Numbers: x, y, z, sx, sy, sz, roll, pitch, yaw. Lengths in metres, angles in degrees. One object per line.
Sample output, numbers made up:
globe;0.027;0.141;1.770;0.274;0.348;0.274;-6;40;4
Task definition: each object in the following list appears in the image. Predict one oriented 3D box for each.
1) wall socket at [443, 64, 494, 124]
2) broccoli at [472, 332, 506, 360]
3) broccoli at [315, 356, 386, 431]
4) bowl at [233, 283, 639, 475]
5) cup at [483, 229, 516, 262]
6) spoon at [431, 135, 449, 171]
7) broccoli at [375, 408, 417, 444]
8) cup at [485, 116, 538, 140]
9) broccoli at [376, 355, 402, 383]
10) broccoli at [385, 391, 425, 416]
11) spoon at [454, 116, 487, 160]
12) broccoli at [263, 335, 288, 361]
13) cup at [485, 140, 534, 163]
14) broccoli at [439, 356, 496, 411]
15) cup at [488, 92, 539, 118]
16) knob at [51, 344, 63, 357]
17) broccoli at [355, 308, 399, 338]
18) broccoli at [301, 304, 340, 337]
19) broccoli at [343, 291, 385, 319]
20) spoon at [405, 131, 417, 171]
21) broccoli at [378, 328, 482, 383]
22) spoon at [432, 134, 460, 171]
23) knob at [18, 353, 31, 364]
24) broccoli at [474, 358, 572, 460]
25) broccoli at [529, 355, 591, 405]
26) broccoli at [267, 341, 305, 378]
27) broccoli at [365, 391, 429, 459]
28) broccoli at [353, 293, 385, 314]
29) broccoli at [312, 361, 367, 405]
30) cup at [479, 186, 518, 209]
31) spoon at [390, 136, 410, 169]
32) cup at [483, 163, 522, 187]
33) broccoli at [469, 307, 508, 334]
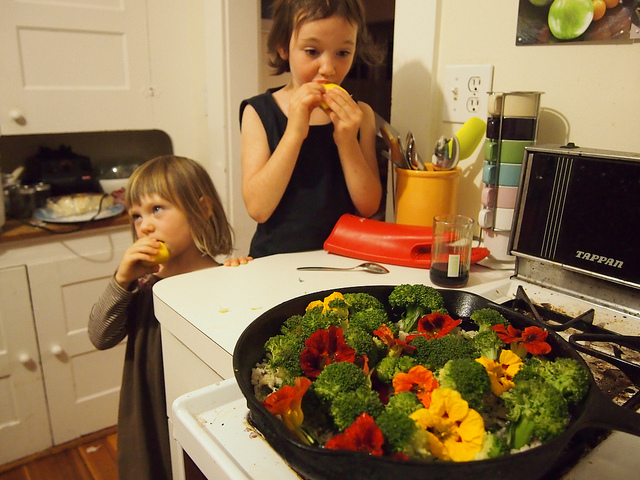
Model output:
wall socket;0.446;-0.445;1.399;0.022;0.172;0.164;-17;24;-36
broccoli;0.254;0.157;0.692;0.037;0.041;0.039;-1;-6;2
broccoli;0.035;0.197;0.616;0.066;0.045;0.086;-6;8;8
bowl;0.146;0.121;0.604;0.392;0.060;0.308;6;15;6
cup;0.473;0.012;1.237;0.075;0.087;0.076;2;9;0
spoon;0.351;-0.243;1.322;0.022;0.111;0.035;-2;1;-28
broccoli;0.092;0.223;0.553;0.033;0.021;0.039;-7;35;-6
cup;0.499;-0.285;1.179;0.089;0.071;0.069;3;15;15
broccoli;0.097;0.181;0.654;0.031;0.034;0.032;-2;-2;-9
broccoli;0.111;0.208;0.591;0.028;0.014;0.029;2;5;28
spoon;0.435;-0.296;1.348;0.062;0.112;0.063;22;12;7
broccoli;-0.066;0.166;0.731;0.029;0.031;0.030;-23;13;11
cup;0.487;-0.232;1.189;0.080;0.042;0.061;-1;9;-7
broccoli;0.186;0.190;0.628;0.080;0.031;0.066;22;30;1
cup;0.491;-0.349;1.177;0.085;0.045;0.074;8;20;26
knob;-1.082;0.453;1.898;0.031;0.038;0.031;23;41;25
broccoli;0.096;0.124;0.745;0.045;0.025;0.055;10;8;-1
broccoli;-0.005;0.121;0.729;0.042;0.018;0.043;-15;19;19
broccoli;0.085;0.107;0.792;0.043;0.035;0.046;3;2;-16
spoon;0.267;-0.268;1.347;0.017;0.133;0.027;-8;-5;-31
broccoli;0.165;0.174;0.723;0.159;0.070;0.101;-2;-12;33
spoon;0.360;-0.241;1.307;0.023;0.103;0.078;6;19;-34
knob;-1.168;0.468;1.830;0.036;0.040;0.038;3;-21;-34
broccoli;0.252;0.221;0.609;0.109;0.086;0.054;-39;15;6
broccoli;0.322;0.178;0.620;0.032;0.064;0.048;-28;-12;18
broccoli;-0.050;0.171;0.684;0.046;0.054;0.048;-8;-5;-8
broccoli;0.096;0.213;0.559;0.055;0.037;0.070;-12;11;-11
broccoli;0.088;0.108;0.798;0.035;0.033;0.037;-11;-31;-17
broccoli;0.023;0.187;0.617;0.046;0.034;0.059;7;16;42
cup;0.473;-0.111;1.216;0.058;0.044;0.059;1;5;0
spoon;0.236;-0.245;1.361;0.029;0.127;0.019;13;48;45
cup;0.474;-0.166;1.201;0.064;0.043;0.064;2;7;0
broccoli;0.278;0.129;0.763;0.045;0.048;0.046;4;-2;-12
